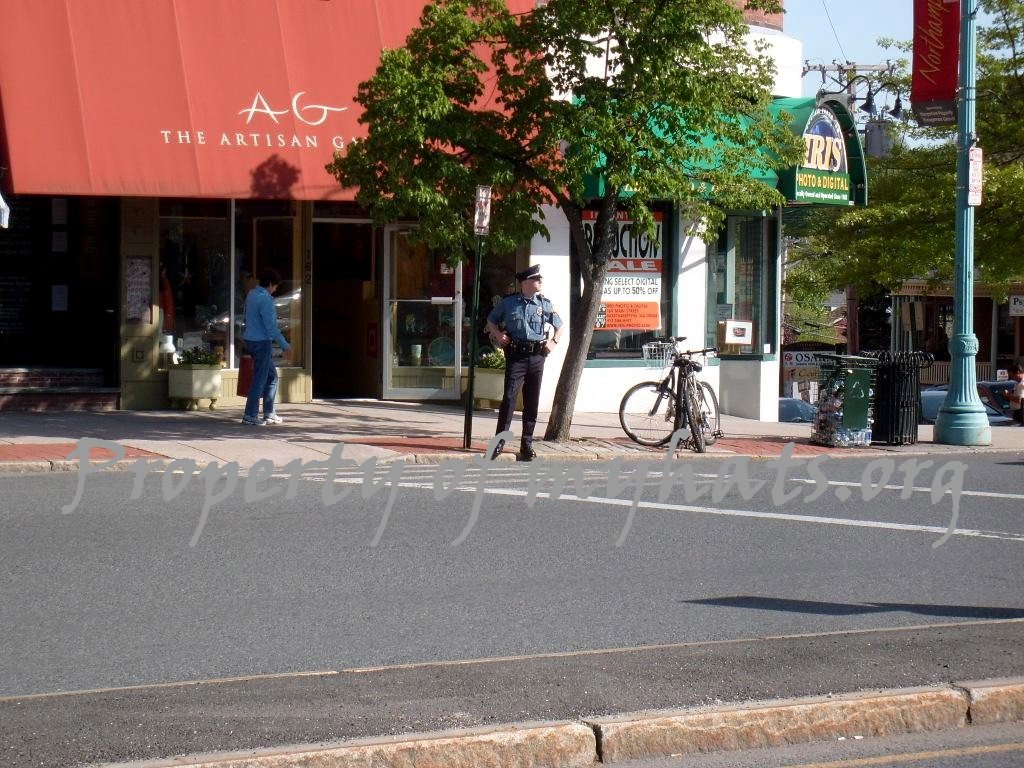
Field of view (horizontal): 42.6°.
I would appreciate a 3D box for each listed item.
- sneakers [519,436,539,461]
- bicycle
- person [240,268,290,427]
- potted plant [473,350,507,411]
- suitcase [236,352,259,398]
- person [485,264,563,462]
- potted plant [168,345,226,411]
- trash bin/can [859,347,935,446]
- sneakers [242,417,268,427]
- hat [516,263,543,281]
[{"bbox_3d":[0.182,0.781,16.245,0.225,0.324,0.258,0,7,1],"label":"sneakers"},{"bbox_3d":[2.080,0.154,17.660,1.635,1.316,0.975,6,4,-37],"label":"bicycle"},{"bbox_3d":[-3.582,-0.533,18.696,0.576,2.148,0.919,-2,6,-12],"label":"person"},{"bbox_3d":[-0.239,-0.173,21.857,0.718,0.953,0.858,4,7,13],"label":"potted plant"},{"bbox_3d":[-3.942,-0.125,19.262,0.449,0.627,0.489,0,5,-23],"label":"suitcase"},{"bbox_3d":[0.140,-0.280,16.408,0.881,2.378,0.825,0,6,0],"label":"person"},{"bbox_3d":[-4.884,-0.086,20.606,0.763,1.317,0.859,0,0,39],"label":"potted plant"},{"bbox_3d":[5.538,0.185,19.336,1.001,1.627,1.085,0,-1,-9],"label":"trash bin/can"},{"bbox_3d":[-3.649,0.526,18.449,0.380,0.222,0.144,0,3,-21],"label":"sneakers"},{"bbox_3d":[0.244,-1.395,16.459,0.241,0.146,0.232,-2,7,-16],"label":"hat"}]
